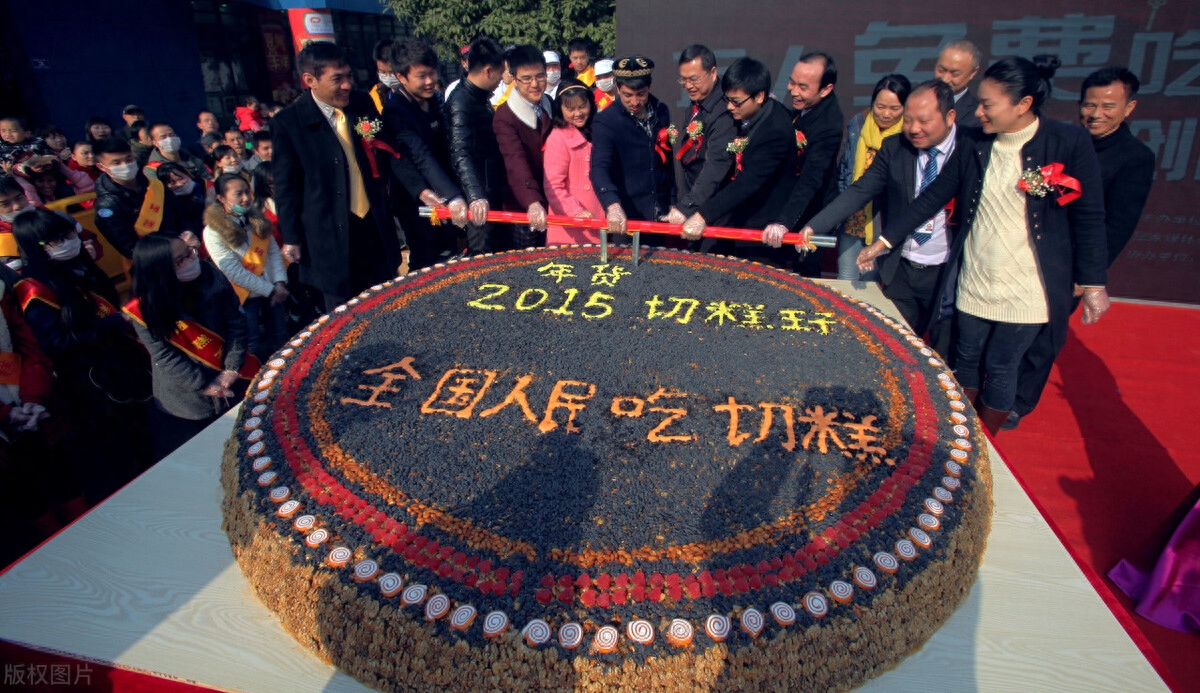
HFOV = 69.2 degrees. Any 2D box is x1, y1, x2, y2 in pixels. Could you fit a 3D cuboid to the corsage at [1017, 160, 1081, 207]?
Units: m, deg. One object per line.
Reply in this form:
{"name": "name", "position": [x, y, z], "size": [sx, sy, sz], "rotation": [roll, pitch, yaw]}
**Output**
{"name": "corsage", "position": [4.362, -1.579, 8.531], "size": [0.539, 0.298, 0.355], "rotation": [34, 77, 37]}

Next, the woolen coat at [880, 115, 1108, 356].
{"name": "woolen coat", "position": [4.021, -1.191, 8.891], "size": [1.433, 2.281, 1.787], "rotation": [-20, 24, -15]}
